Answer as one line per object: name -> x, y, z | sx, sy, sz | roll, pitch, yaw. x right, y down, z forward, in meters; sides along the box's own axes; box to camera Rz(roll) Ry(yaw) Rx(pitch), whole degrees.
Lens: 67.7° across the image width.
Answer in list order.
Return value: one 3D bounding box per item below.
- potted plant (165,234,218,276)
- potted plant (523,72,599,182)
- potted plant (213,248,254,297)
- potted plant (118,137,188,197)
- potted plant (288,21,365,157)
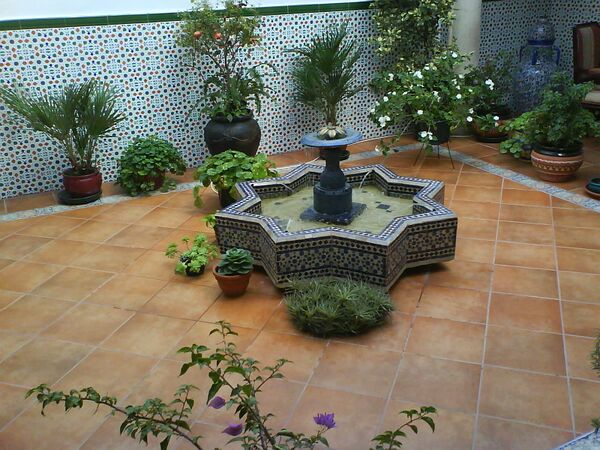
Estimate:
potted plant -> -1.114, 0.327, 4.698 | 0.554, 0.185, 0.511 | -3, 24, -16
potted plant -> 3.684, -1.364, 6.279 | 0.782, 1.464, 0.740 | -3, 29, 7
potted plant -> -0.605, 0.453, 4.142 | 0.472, 0.354, 0.367 | 4, 29, 7
potted plant -> -2.206, -0.879, 6.656 | 1.198, 0.608, 0.955 | -10, 31, -12
potted plant -> 0.429, -2.344, 7.282 | 1.158, 1.772, 1.441 | -3, 27, 7
